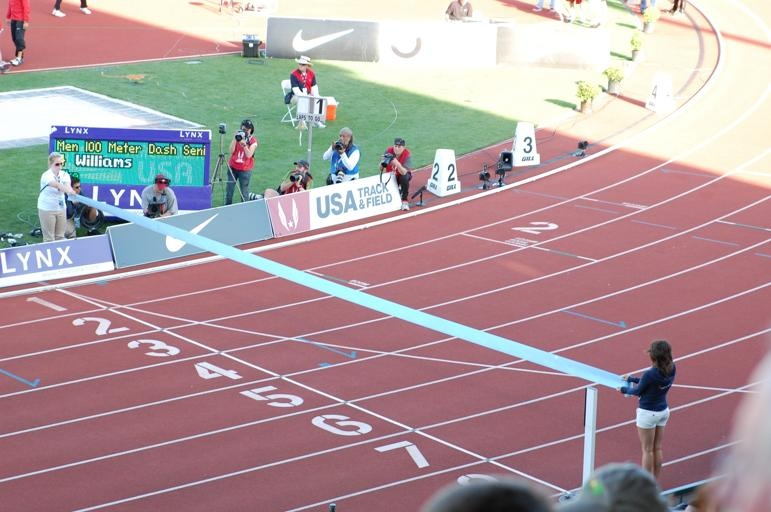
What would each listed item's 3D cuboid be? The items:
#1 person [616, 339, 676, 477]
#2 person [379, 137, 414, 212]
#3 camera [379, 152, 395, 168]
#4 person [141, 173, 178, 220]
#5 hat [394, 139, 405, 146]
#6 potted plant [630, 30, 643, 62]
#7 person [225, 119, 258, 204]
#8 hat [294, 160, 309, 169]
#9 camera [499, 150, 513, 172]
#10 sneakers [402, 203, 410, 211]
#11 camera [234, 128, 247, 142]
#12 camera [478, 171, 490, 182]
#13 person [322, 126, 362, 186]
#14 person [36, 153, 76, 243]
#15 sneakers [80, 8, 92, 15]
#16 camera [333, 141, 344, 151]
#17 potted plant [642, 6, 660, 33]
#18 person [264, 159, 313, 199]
[{"bbox_3d":[4.061,2.469,18.950,0.748,2.367,0.415,1,18,-2],"label":"person"},{"bbox_3d":[0.205,-1.799,26.046,0.623,1.556,0.641,1,18,-1],"label":"person"},{"bbox_3d":[0.019,-2.022,25.698,0.187,0.213,0.367,25,48,-9],"label":"camera"},{"bbox_3d":[-4.468,-1.126,24.074,0.822,1.190,0.812,-1,60,-13],"label":"person"},{"bbox_3d":[0.289,-2.390,25.660,0.187,0.193,0.147,-1,32,-19],"label":"hat"},{"bbox_3d":[7.454,-6.239,36.232,0.290,0.822,0.767,6,18,12],"label":"potted plant"},{"bbox_3d":[-3.039,-1.950,25.355,0.635,1.774,1.053,-1,18,-7],"label":"person"},{"bbox_3d":[-1.743,-1.915,25.236,0.278,0.224,0.364,-1,17,-8],"label":"hat"},{"bbox_3d":[2.724,-2.155,27.356,0.350,0.438,0.402,1,9,10],"label":"camera"},{"bbox_3d":[0.412,-1.064,26.091,0.160,0.143,0.084,5,15,14],"label":"sneakers"},{"bbox_3d":[-2.960,-2.447,24.798,0.199,0.207,0.283,-1,17,-7],"label":"camera"},{"bbox_3d":[2.189,-1.765,26.864,0.243,0.210,0.220,-4,7,-18],"label":"camera"},{"bbox_3d":[-0.929,-2.072,25.678,0.735,1.245,0.650,10,20,25],"label":"person"},{"bbox_3d":[-6.253,-1.102,23.026,0.627,1.712,0.635,-6,20,-23],"label":"person"},{"bbox_3d":[-8.942,-7.312,36.303,0.292,0.119,0.134,18,37,22],"label":"sneakers"},{"bbox_3d":[-1.021,-2.318,25.447,0.211,0.198,0.226,31,4,-6],"label":"camera"},{"bbox_3d":[8.615,-7.698,39.689,0.424,0.754,0.878,5,18,11],"label":"potted plant"},{"bbox_3d":[-2.064,-1.597,25.731,0.699,1.101,0.710,25,11,29],"label":"person"}]
